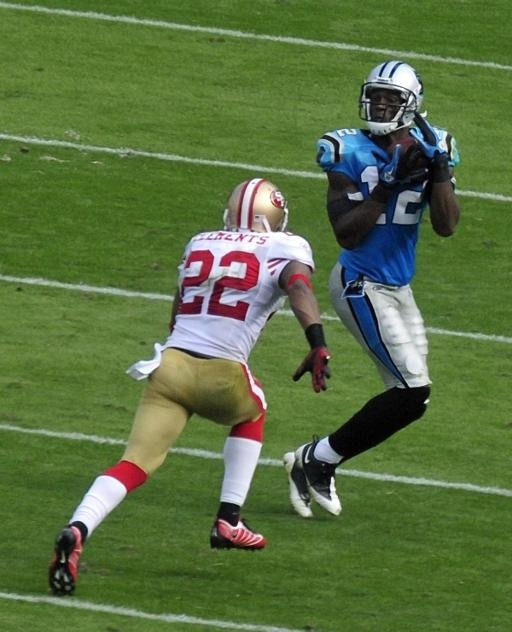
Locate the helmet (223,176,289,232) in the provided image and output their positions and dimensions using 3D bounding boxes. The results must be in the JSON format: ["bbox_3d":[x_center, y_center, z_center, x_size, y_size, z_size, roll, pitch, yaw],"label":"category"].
[{"bbox_3d":[-0.018,-0.468,4.981,0.263,0.191,0.274,2,20,1],"label":"helmet"}]

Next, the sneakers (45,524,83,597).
[{"bbox_3d":[-0.671,0.881,4.256,0.121,0.250,0.130,12,19,2],"label":"sneakers"}]

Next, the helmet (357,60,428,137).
[{"bbox_3d":[0.569,-0.961,5.181,0.277,0.229,0.305,8,15,9],"label":"helmet"}]

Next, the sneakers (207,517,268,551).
[{"bbox_3d":[-0.070,0.871,4.701,0.265,0.154,0.104,7,22,-32],"label":"sneakers"}]

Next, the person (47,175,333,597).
[{"bbox_3d":[-0.141,0.289,4.579,0.686,1.239,0.967,22,16,-5],"label":"person"}]
